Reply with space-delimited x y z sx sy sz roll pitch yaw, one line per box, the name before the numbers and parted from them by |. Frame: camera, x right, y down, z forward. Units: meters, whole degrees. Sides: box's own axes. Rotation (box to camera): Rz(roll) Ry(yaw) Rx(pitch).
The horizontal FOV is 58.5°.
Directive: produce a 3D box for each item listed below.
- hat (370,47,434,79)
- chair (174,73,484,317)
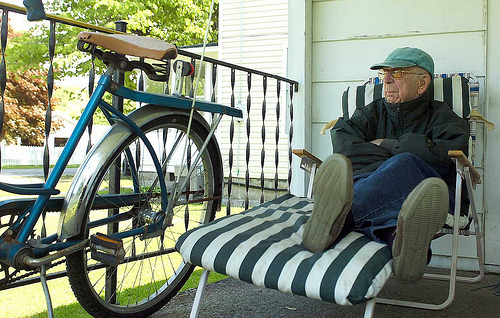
hat | 1.361 -0.827 3.926 0.413 0.193 0.300 17 2 -12
chair | 0.860 0.144 3.518 1.370 1.552 2.363 4 2 35
